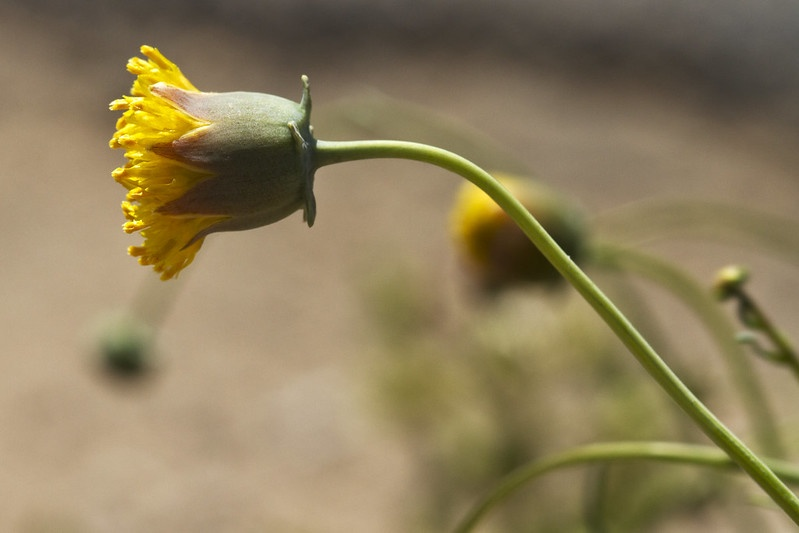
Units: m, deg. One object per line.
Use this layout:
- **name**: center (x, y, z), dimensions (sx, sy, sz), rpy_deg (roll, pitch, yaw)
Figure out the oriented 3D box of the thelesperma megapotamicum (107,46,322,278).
- **thelesperma megapotamicum**: center (-0.120, -0.078, 0.987), dimensions (0.202, 0.152, 0.165), rpy_deg (-3, 46, 6)
